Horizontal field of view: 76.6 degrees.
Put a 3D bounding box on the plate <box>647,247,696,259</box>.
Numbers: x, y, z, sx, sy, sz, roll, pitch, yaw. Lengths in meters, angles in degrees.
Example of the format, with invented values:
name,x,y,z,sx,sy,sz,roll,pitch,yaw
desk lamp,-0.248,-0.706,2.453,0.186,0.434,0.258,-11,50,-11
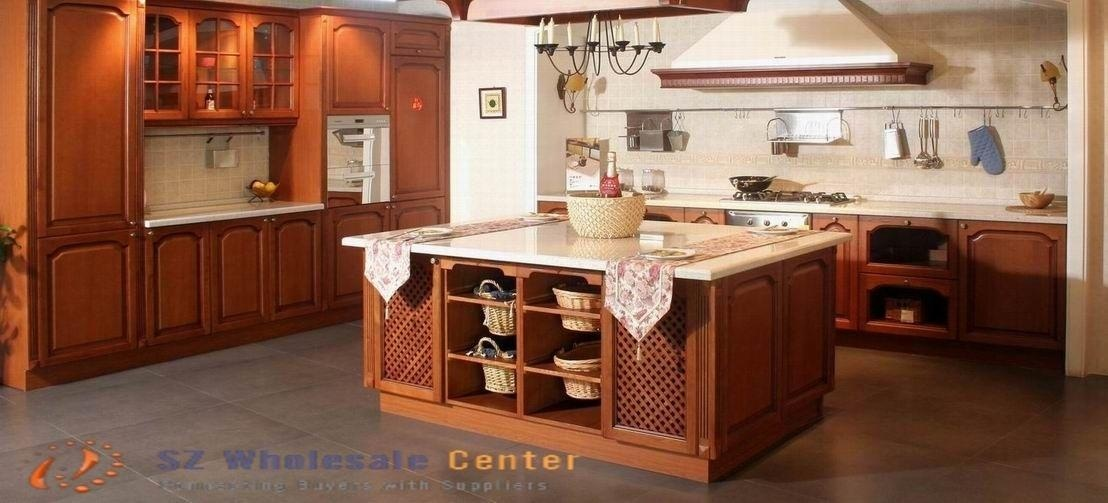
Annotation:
name,x,y,z,sx,sy,sz,roll,pitch,yaw
plate,1.035,0.008,6.184,0.407,0.052,0.347,4,11,20

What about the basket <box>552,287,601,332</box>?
name,x,y,z,sx,sy,sz,roll,pitch,yaw
basket,0.202,0.515,6.420,0.415,0.367,0.355,1,12,0

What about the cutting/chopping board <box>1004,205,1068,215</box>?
name,x,y,z,sx,sy,sz,roll,pitch,yaw
cutting/chopping board,5.362,-0.473,7.839,0.569,0.061,0.483,5,12,24

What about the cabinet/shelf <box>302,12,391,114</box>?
name,x,y,z,sx,sy,sz,roll,pitch,yaw
cabinet/shelf,-2.647,-2.390,8.899,1.078,1.246,0.464,-2,13,-11

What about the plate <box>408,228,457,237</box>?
name,x,y,z,sx,sy,sz,roll,pitch,yaw
plate,-1.194,-0.202,6.926,0.398,0.046,0.290,0,11,0

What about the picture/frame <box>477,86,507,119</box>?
name,x,y,z,sx,sy,sz,roll,pitch,yaw
picture/frame,-0.873,-2.175,10.032,0.724,0.499,0.064,1,4,12

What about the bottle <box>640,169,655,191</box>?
name,x,y,z,sx,sy,sz,roll,pitch,yaw
bottle,1.302,-0.998,9.630,0.174,0.306,0.252,0,12,-4

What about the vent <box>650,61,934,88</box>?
name,x,y,z,sx,sy,sz,roll,pitch,yaw
vent,2.962,-2.213,8.754,3.034,0.269,0.562,5,12,21

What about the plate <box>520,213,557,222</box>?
name,x,y,z,sx,sy,sz,roll,pitch,yaw
plate,-0.151,-0.375,7.615,0.411,0.047,0.270,0,11,0

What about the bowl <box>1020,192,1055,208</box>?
name,x,y,z,sx,sy,sz,roll,pitch,yaw
bowl,5.413,-0.572,7.871,0.292,0.101,0.256,0,3,24
